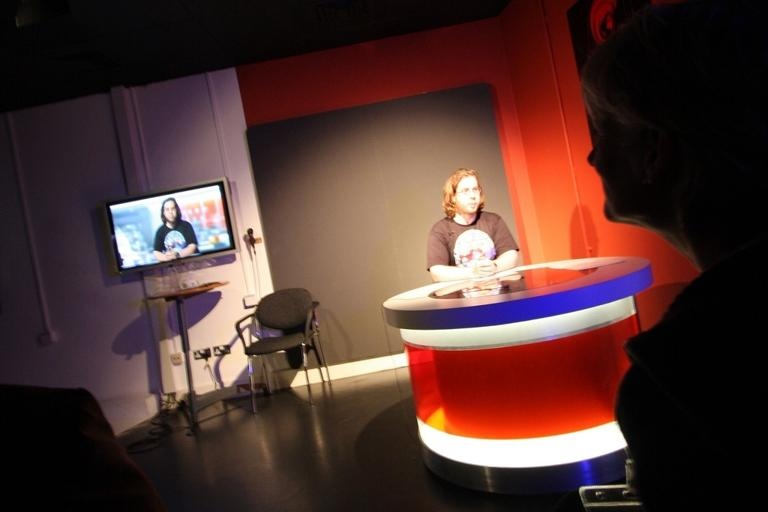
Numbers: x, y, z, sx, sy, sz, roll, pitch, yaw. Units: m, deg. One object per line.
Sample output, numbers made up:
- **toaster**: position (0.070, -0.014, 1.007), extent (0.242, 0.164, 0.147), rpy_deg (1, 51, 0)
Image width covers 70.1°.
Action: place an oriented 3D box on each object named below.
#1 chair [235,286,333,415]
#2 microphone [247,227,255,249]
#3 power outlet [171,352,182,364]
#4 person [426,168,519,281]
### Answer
- **chair**: position (-0.762, 0.682, 4.136), extent (0.572, 0.796, 0.553), rpy_deg (-8, 4, 5)
- **microphone**: position (-1.080, -0.146, 4.461), extent (0.055, 0.118, 0.074), rpy_deg (-12, 7, -25)
- **power outlet**: position (-1.705, 0.833, 4.495), extent (0.087, 0.087, 0.087), rpy_deg (-1, -2, 20)
- **person**: position (0.508, -0.151, 3.310), extent (0.558, 0.731, 0.621), rpy_deg (-10, 13, -15)
